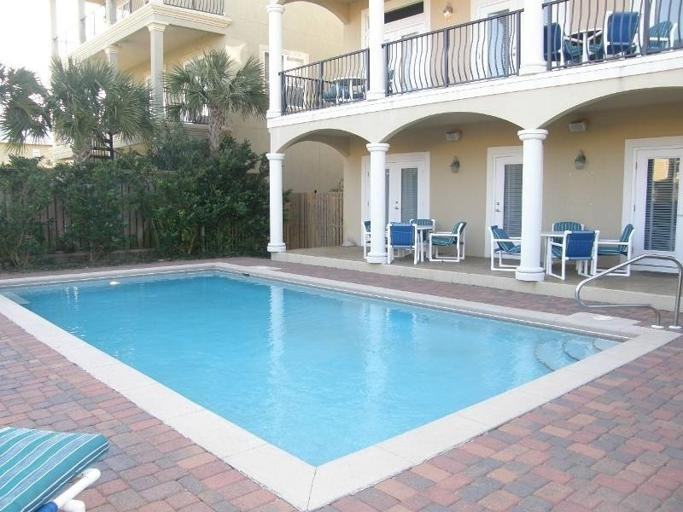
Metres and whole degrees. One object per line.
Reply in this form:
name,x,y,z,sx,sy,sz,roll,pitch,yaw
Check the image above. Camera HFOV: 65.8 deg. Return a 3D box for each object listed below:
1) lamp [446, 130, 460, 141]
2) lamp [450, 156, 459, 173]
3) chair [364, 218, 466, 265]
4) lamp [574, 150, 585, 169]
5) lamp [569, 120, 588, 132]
lamp,2.841,-3.032,13.332,0.310,0.209,0.233,-1,-2,43
lamp,2.935,-2.327,13.502,0.253,0.339,0.344,0,0,17
chair,1.974,-0.393,12.982,2.151,0.984,2.354,2,7,20
lamp,5.233,-2.096,11.468,0.224,0.419,0.178,5,9,35
lamp,5.125,-2.732,11.383,0.332,0.255,0.250,2,6,43
